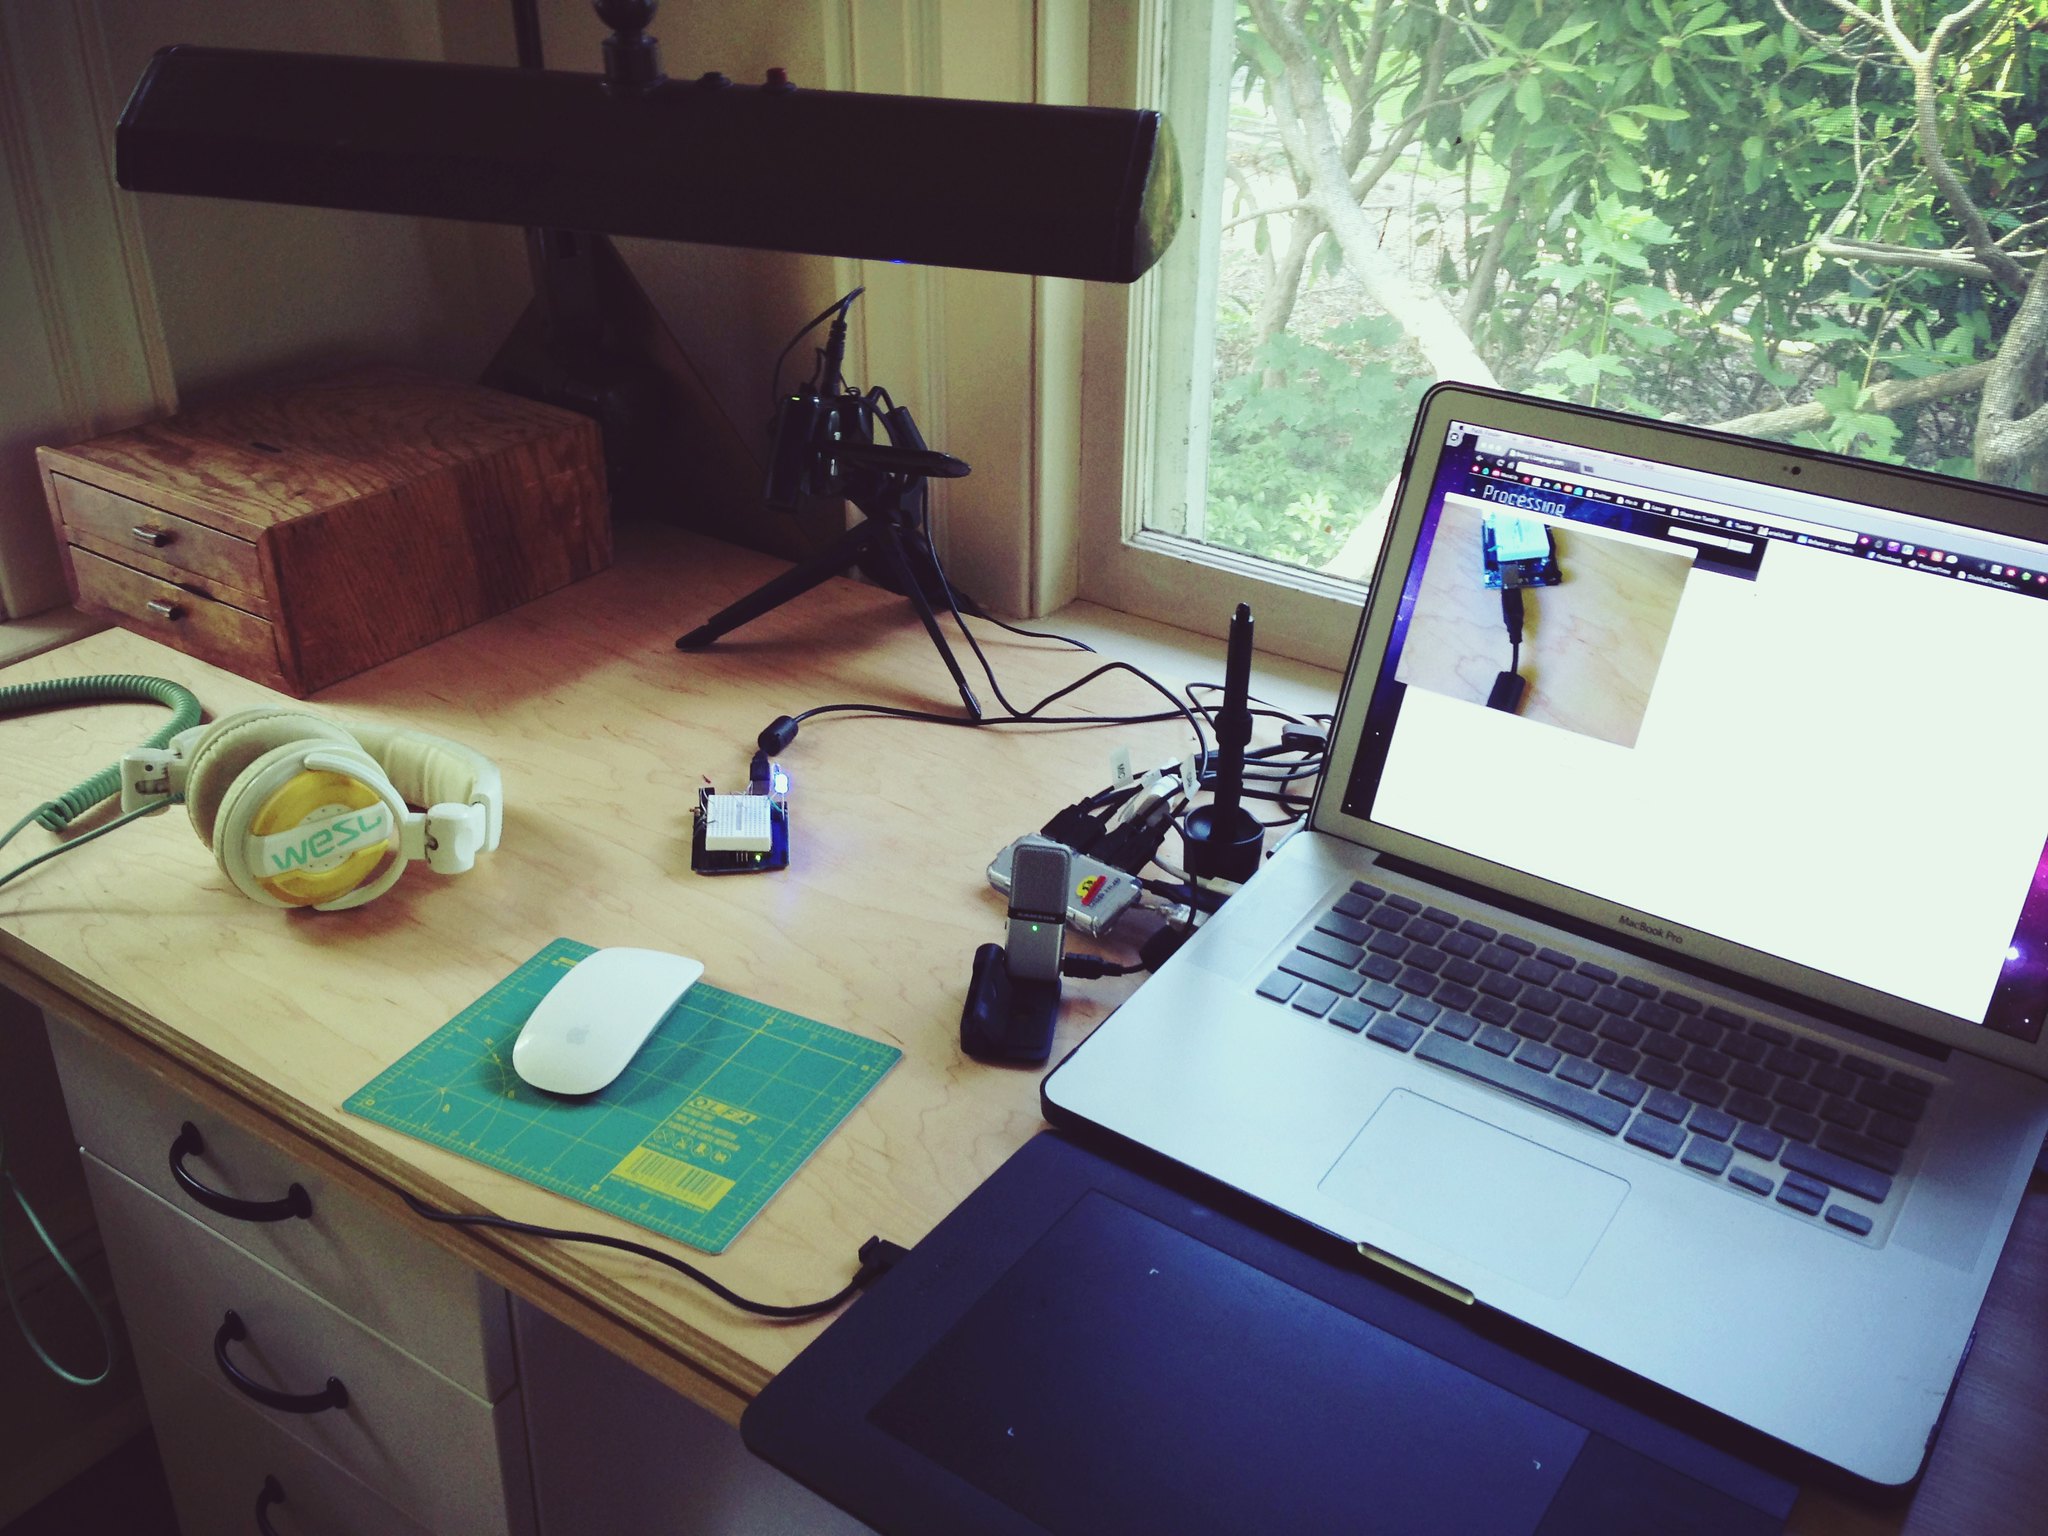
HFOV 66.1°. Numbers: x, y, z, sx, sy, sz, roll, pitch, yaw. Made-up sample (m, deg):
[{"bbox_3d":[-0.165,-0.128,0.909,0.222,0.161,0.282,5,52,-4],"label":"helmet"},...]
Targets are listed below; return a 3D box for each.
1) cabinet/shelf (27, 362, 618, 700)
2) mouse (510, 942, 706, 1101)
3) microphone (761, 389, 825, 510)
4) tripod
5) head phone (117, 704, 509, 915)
[{"bbox_3d":[-0.639,-0.283,1.478,0.358,0.172,0.378,21,35,28],"label":"cabinet/shelf"},{"bbox_3d":[-0.286,0.168,1.070,0.074,0.030,0.126,15,34,20],"label":"mouse"},{"bbox_3d":[-0.192,-0.282,1.390,0.050,0.100,0.024,1,12,-13],"label":"microphone"},{"bbox_3d":[-0.170,-0.158,1.513,0.260,0.167,0.189,1,41,5],"label":"tripod"},{"bbox_3d":[-0.518,-0.015,1.159,0.198,0.091,0.202,-7,27,-43],"label":"head phone"}]
